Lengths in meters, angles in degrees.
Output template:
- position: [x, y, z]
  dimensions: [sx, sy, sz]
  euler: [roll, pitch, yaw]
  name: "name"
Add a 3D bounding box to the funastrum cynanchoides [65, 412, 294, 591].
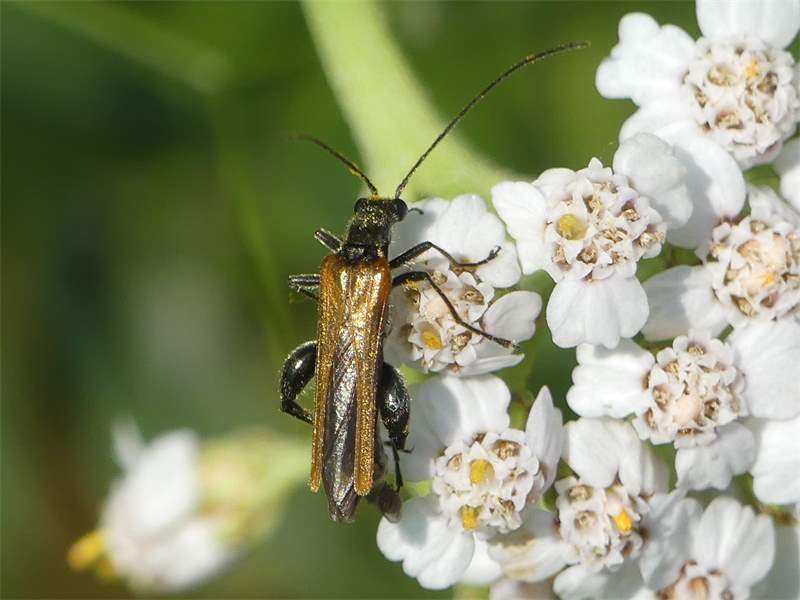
- position: [-0.703, 0.689, 3.161]
  dimensions: [0.698, 0.500, 0.231]
  euler: [-40, -3, 9]
  name: "funastrum cynanchoides"
